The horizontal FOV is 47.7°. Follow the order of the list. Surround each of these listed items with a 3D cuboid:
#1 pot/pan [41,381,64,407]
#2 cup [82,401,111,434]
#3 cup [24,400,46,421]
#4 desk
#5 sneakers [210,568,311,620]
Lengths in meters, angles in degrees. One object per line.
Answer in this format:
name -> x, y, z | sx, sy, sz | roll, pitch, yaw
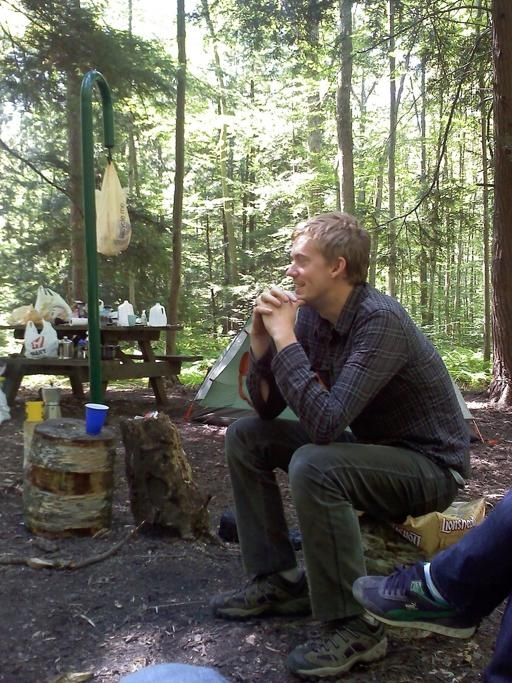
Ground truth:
pot/pan -> -1.158, 0.310, 3.268 | 0.098, 0.128, 0.232 | -1, 5, -21
cup -> -0.786, 0.377, 2.830 | 0.095, 0.164, 0.255 | -1, 5, -16
cup -> -1.234, 0.381, 3.173 | 0.116, 0.115, 0.109 | 0, -1, 0
desk -> -1.663, 0.243, 6.574 | 1.455, 0.650, 1.243 | 2, 3, 35
sneakers -> 0.033, 0.939, 2.176 | 0.413, 0.165, 0.140 | 2, -7, -7
